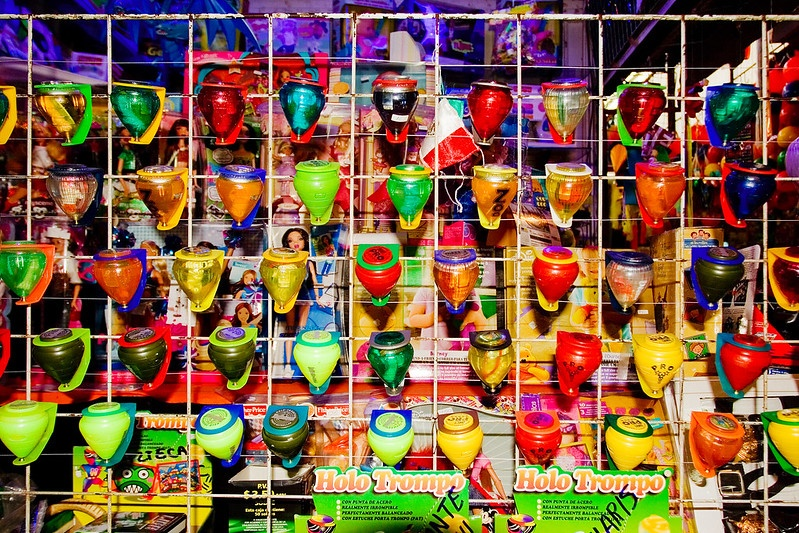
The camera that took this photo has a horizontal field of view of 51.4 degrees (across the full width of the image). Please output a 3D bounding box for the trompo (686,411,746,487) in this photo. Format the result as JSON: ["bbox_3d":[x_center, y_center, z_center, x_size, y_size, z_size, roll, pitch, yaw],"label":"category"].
[{"bbox_3d":[1.581,0.905,4.185,0.288,0.384,0.313,1,10,-9],"label":"trompo"}]

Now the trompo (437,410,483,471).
[{"bbox_3d":[0.320,0.940,4.284,0.228,0.316,0.234,-5,15,4],"label":"trompo"}]

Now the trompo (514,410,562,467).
[{"bbox_3d":[0.713,0.893,4.307,0.217,0.281,0.240,-13,36,-15],"label":"trompo"}]

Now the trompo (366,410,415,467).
[{"bbox_3d":[-0.040,0.848,4.225,0.246,0.259,0.262,-2,10,-2],"label":"trompo"}]

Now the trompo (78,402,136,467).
[{"bbox_3d":[-1.516,0.877,4.263,0.240,0.330,0.249,-2,9,-16],"label":"trompo"}]

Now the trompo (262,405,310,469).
[{"bbox_3d":[-0.548,0.898,4.303,0.274,0.381,0.286,-1,40,0],"label":"trompo"}]

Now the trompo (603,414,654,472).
[{"bbox_3d":[1.130,0.881,4.257,0.249,0.352,0.260,0,4,15],"label":"trompo"}]

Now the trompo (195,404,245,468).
[{"bbox_3d":[-0.924,0.886,4.242,0.232,0.330,0.200,1,19,-13],"label":"trompo"}]
